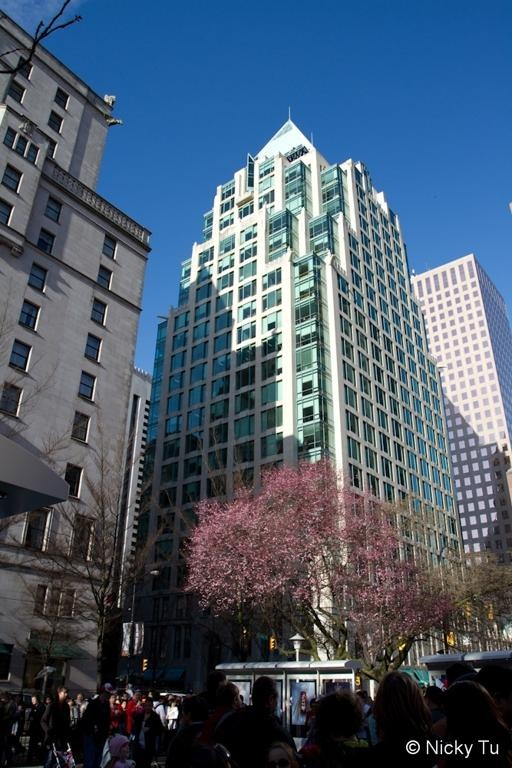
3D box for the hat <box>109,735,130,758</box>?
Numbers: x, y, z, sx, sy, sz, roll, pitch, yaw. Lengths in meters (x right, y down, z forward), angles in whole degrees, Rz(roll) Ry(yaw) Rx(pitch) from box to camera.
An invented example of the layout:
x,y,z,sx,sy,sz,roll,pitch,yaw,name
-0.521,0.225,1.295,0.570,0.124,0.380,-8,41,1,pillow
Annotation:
x,y,z,sx,sy,sz,roll,pitch,yaw,name
-1.486,3.901,6.094,0.194,0.222,0.309,5,-28,-8,hat
